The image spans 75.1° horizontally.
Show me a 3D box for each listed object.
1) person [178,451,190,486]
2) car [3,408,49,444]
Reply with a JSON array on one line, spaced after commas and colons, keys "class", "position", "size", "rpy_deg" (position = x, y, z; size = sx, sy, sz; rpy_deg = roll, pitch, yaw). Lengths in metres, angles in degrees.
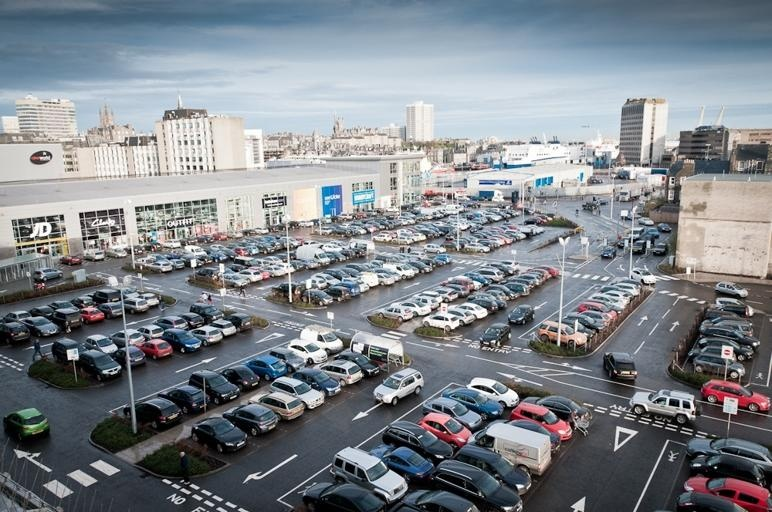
[{"class": "person", "position": [-12.015, 12.572, 30.115], "size": [0.553, 1.732, 1.174], "rpy_deg": [-11, 15, -24]}, {"class": "car", "position": [-24.190, 11.249, 33.911], "size": [3.212, 1.072, 1.842], "rpy_deg": [14, 12, 29]}]
